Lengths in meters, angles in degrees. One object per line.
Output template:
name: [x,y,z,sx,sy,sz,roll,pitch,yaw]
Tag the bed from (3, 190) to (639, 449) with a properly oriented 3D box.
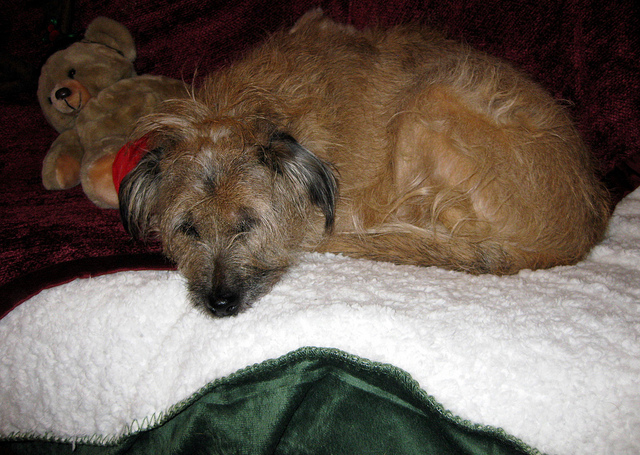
bed: [-0.004,0.844,3.722,3.636,1.519,0.823,9,9,10]
